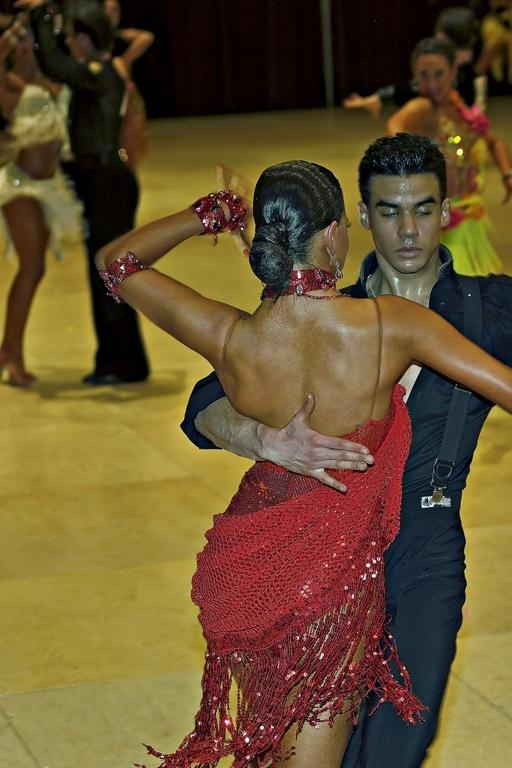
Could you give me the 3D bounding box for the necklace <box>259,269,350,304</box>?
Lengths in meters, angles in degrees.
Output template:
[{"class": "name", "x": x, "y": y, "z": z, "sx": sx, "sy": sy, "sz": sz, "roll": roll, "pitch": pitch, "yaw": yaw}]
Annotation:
[{"class": "necklace", "x": 0.086, "y": -0.132, "z": 1.106, "sx": 0.074, "sy": 0.023, "sz": 0.058, "roll": -16, "pitch": -6, "yaw": 35}]
